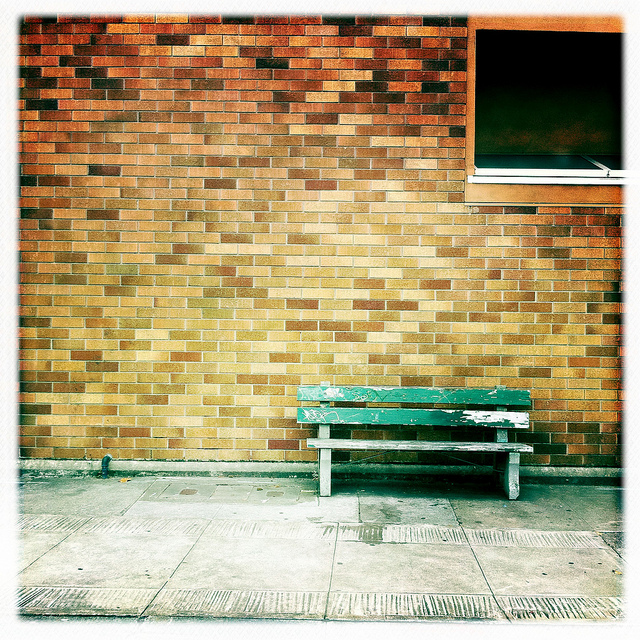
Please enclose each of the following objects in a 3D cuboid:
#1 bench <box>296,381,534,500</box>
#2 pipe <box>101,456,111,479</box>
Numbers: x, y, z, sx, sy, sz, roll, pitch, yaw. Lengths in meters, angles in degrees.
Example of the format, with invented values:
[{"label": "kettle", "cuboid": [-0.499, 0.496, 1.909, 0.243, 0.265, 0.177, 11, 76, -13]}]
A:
[{"label": "bench", "cuboid": [1.003, 1.209, 11.204, 2.298, 1.097, 0.860, -1, 0, 2]}, {"label": "pipe", "cuboid": [-2.246, 1.543, 11.509, 0.092, 0.192, 0.069, -1, 0, -10]}]
